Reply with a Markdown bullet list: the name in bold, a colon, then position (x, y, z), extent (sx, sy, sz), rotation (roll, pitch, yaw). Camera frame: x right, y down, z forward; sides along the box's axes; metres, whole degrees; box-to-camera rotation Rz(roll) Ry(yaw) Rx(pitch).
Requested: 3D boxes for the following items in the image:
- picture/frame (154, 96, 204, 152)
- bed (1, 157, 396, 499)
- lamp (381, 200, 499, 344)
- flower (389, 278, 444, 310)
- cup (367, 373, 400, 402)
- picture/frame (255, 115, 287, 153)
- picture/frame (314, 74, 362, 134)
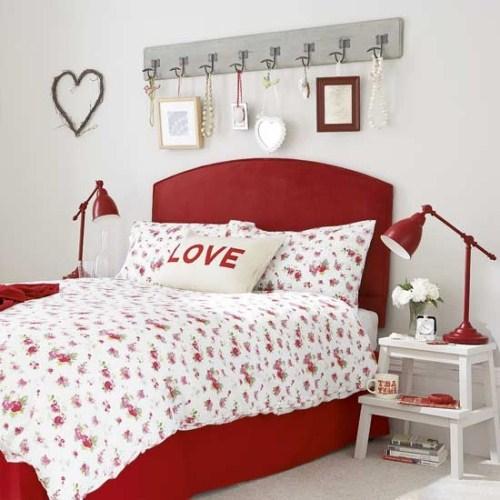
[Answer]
- **picture/frame**: position (-0.449, -0.830, 3.271), extent (0.316, 0.333, 0.043), rotation (4, 7, 38)
- **bed**: position (-0.122, 0.271, 2.350), extent (1.267, 1.105, 1.321), rotation (4, 4, 42)
- **lamp**: position (0.839, 0.099, 2.173), extent (0.639, 0.589, 0.316), rotation (2, -2, -42)
- **flower**: position (0.790, 0.199, 2.334), extent (0.159, 0.128, 0.167), rotation (-3, -4, 38)
- **cup**: position (0.580, 0.580, 2.175), extent (0.126, 0.110, 0.178), rotation (1, -2, 17)
- **picture/frame**: position (0.116, -0.696, 2.979), extent (0.210, 0.202, 0.240), rotation (2, 28, 9)
- **picture/frame**: position (0.479, -0.792, 2.734), extent (0.232, 0.333, 0.022), rotation (0, -10, 4)
